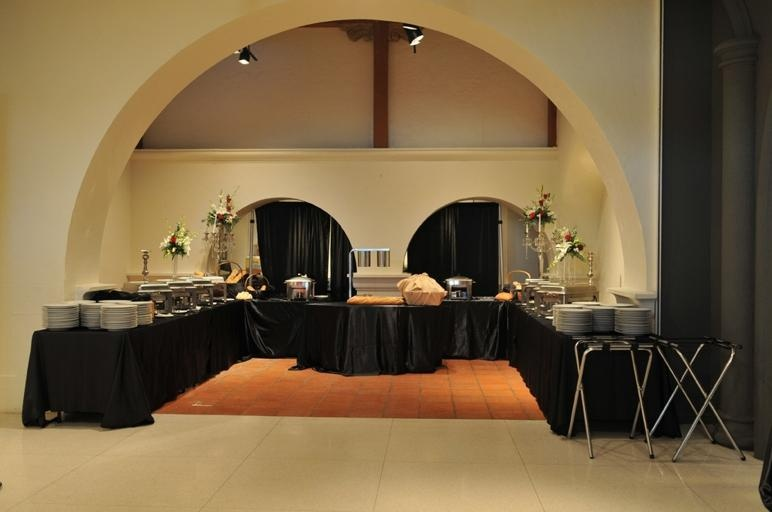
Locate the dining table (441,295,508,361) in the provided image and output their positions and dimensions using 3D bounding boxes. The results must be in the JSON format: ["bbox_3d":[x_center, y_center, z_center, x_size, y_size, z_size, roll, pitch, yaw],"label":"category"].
[{"bbox_3d":[1.385,1.084,8.921,0.846,0.758,0.878,0,-3,4],"label":"dining table"}]

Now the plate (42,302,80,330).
[{"bbox_3d":[-3.369,0.608,5.927,0.278,0.218,0.289,1,0,3],"label":"plate"}]

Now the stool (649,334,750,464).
[{"bbox_3d":[2.966,1.291,5.456,0.775,1.087,0.854,1,3,33],"label":"stool"}]

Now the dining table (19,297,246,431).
[{"bbox_3d":[-2.630,1.200,6.608,1.112,0.986,2.444,1,2,24],"label":"dining table"}]

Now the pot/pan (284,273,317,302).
[{"bbox_3d":[-1.364,0.482,9.037,0.403,0.372,0.388,0,-6,-2],"label":"pot/pan"}]

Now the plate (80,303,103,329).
[{"bbox_3d":[-3.053,0.601,5.921,0.242,0.261,0.245,1,1,-6],"label":"plate"}]

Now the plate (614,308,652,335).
[{"bbox_3d":[2.411,0.625,5.558,0.272,0.207,0.281,0,-3,3],"label":"plate"}]

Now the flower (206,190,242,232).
[{"bbox_3d":[-2.916,-0.832,10.299,0.653,0.943,0.665,-2,8,-21],"label":"flower"}]

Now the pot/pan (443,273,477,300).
[{"bbox_3d":[1.126,0.467,8.922,0.368,0.329,0.340,0,-6,0],"label":"pot/pan"}]

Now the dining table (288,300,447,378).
[{"bbox_3d":[-0.262,1.097,7.785,1.875,0.931,0.532,-1,2,-2],"label":"dining table"}]

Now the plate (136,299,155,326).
[{"bbox_3d":[-2.588,0.618,6.200,0.211,0.220,0.214,-1,3,-20],"label":"plate"}]

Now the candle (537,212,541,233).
[{"bbox_3d":[2.290,-0.517,8.494,0.078,0.274,0.274,0,2,16],"label":"candle"}]

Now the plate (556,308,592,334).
[{"bbox_3d":[1.873,0.630,5.672,0.255,0.182,0.265,0,-1,30],"label":"plate"}]

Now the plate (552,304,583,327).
[{"bbox_3d":[1.794,0.577,5.746,0.219,0.165,0.226,0,-2,3],"label":"plate"}]

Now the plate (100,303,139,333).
[{"bbox_3d":[-2.750,0.621,5.850,0.275,0.198,0.286,0,0,6],"label":"plate"}]

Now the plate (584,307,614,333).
[{"bbox_3d":[2.144,0.638,5.779,0.226,0.241,0.239,0,-3,-5],"label":"plate"}]

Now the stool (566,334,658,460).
[{"bbox_3d":[2.147,1.288,5.395,0.844,1.071,0.588,0,2,10],"label":"stool"}]
